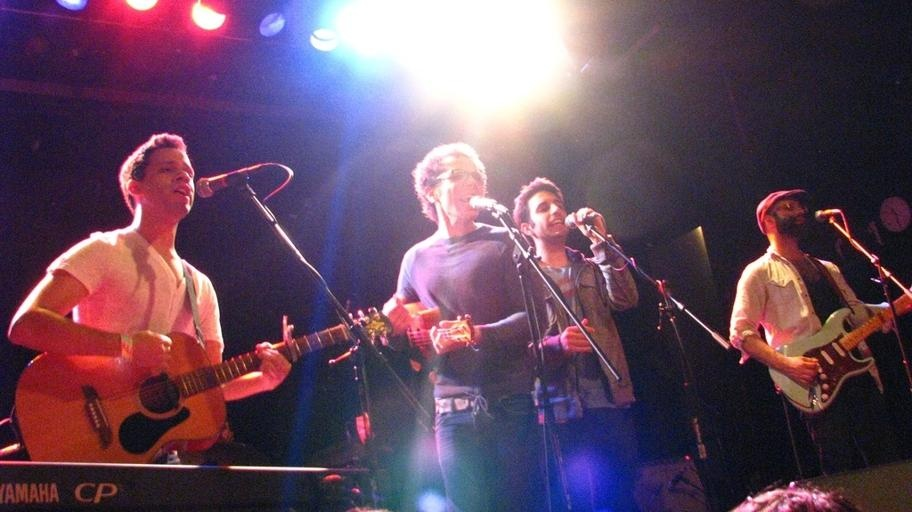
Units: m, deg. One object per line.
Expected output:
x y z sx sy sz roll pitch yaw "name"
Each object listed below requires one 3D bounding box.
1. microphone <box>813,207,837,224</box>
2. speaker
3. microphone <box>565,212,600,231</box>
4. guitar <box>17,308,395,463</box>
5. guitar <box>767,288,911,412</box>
4.163 -0.469 7.866 0.319 0.137 0.179 -12 -52 -36 "microphone"
3.397 0.360 10.005 0.460 1.566 1.156 6 -37 -16 "speaker"
1.304 -0.349 7.263 0.284 0.155 0.111 -8 -44 4 "microphone"
-2.280 1.142 6.456 2.990 1.176 0.347 -15 -11 -37 "guitar"
4.285 1.084 7.919 2.224 0.783 0.246 -29 -10 -15 "guitar"
